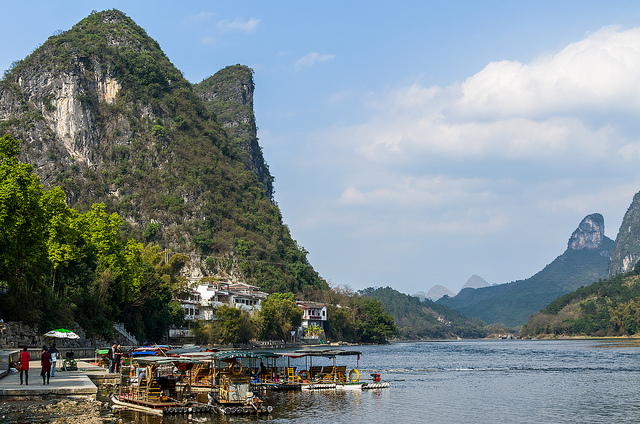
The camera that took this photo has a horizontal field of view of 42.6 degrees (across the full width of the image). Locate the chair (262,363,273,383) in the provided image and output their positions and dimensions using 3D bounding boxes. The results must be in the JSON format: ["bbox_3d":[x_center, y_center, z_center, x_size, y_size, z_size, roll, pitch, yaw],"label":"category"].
[{"bbox_3d":[-8.185,24.508,123.386,1.653,2.753,1.527,2,-10,-4],"label":"chair"}]

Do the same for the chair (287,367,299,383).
[{"bbox_3d":[-4.310,24.486,122.971,1.455,1.937,1.230,-3,-10,-4],"label":"chair"}]

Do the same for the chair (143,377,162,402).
[{"bbox_3d":[-22.329,23.434,107.758,2.280,3.036,1.017,-2,-10,-11],"label":"chair"}]

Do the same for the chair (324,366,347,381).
[{"bbox_3d":[2.122,24.623,124.423,3.458,1.981,1.390,3,-12,-35],"label":"chair"}]

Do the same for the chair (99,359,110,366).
[{"bbox_3d":[-33.619,23.260,126.153,1.844,1.236,1.286,6,-12,-19],"label":"chair"}]

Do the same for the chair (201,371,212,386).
[{"bbox_3d":[-16.651,24.087,117.839,1.322,2.178,1.307,4,-13,-8],"label":"chair"}]

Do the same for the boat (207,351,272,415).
[{"bbox_3d":[-11.949,23.022,113.058,5.785,7.914,17.416,3,-3,-10],"label":"boat"}]
